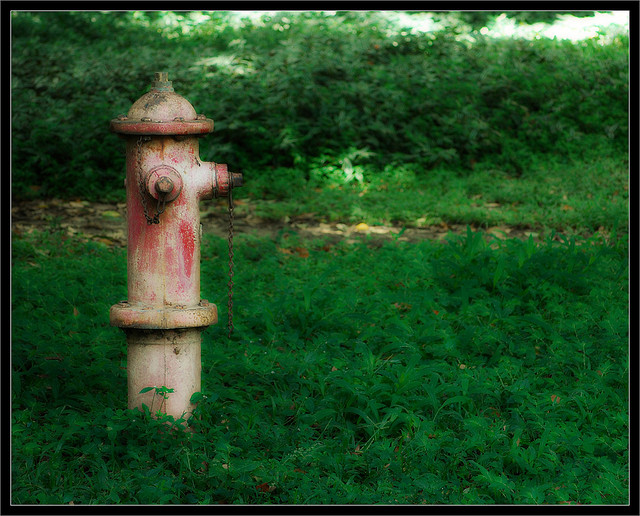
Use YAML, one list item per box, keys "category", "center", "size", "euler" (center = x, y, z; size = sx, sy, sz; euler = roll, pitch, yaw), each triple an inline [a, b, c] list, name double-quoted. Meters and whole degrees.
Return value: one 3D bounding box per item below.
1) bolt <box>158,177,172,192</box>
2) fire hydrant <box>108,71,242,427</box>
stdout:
- category: "bolt"
  center: [-0.947, -0.447, 4.558]
  size: [0.082, 0.084, 0.029]
  euler: [0, 6, -11]
- category: "fire hydrant"
  center: [-0.953, -0.058, 4.712]
  size: [0.715, 2.215, 0.430]
  euler: [0, 6, -14]
